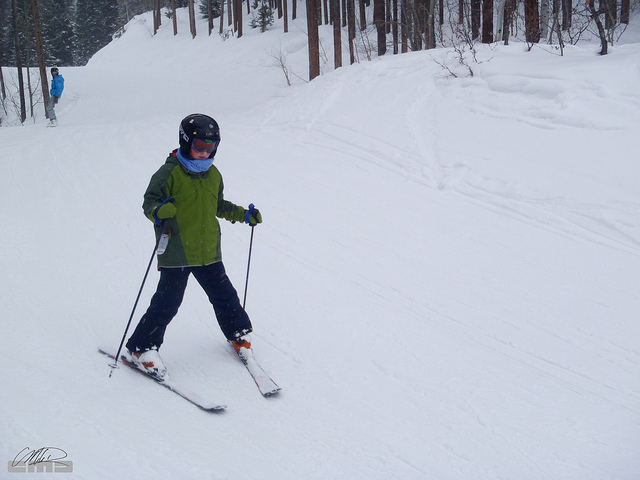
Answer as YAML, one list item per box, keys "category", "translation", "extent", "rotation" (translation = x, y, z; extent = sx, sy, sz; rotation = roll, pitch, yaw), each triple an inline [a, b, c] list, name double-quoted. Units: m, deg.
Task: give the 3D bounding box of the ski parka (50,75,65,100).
- category: "ski parka"
  translation: [-6.789, -4.091, 17.110]
  extent: [0.405, 0.708, 0.739]
  rotation: [3, 22, -24]

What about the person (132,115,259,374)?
- category: "person"
  translation: [-1.337, 0.074, 6.959]
  extent: [1.360, 2.692, 0.410]
  rotation: [-9, 14, -29]

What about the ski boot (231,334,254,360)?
- category: "ski boot"
  translation: [-0.854, 1.207, 7.350]
  extent: [0.135, 0.208, 0.383]
  rotation: [-24, 58, -12]

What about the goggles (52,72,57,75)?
- category: "goggles"
  translation: [-6.793, -4.232, 16.914]
  extent: [0.062, 0.086, 0.073]
  rotation: [-28, 31, -22]
